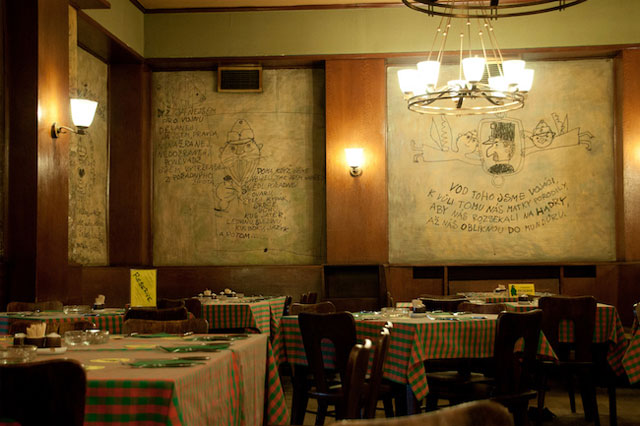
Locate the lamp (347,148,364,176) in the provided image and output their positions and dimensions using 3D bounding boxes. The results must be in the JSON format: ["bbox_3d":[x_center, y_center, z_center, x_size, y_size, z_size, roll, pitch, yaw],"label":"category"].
[{"bbox_3d":[0.503,-0.711,8.265,0.326,0.430,0.351,0,-4,2],"label":"lamp"}]

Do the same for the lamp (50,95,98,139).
[{"bbox_3d":[-2.737,-1.021,6.484,0.425,0.589,0.887,0,-7,-21],"label":"lamp"}]

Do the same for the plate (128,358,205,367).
[{"bbox_3d":[-0.756,0.737,2.858,0.369,0.025,0.202,-2,-6,-2],"label":"plate"}]
